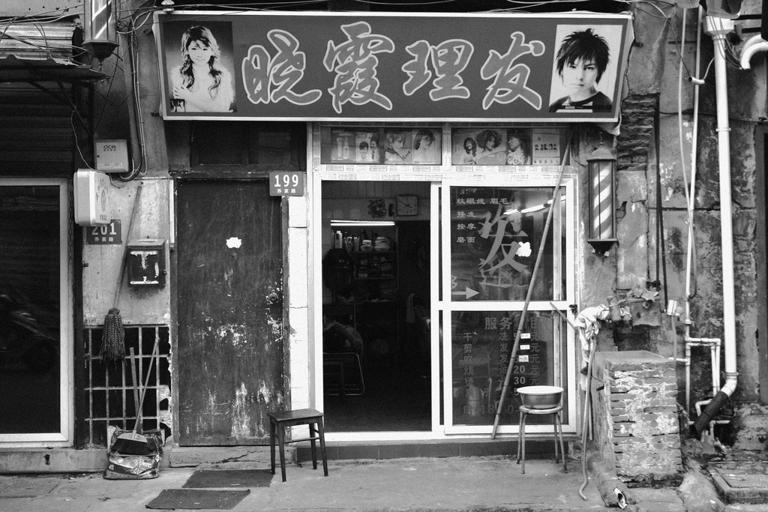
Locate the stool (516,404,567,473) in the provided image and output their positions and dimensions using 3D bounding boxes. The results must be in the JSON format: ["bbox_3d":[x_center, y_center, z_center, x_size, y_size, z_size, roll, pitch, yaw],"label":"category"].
[{"bbox_3d":[1.929,2.119,16.187,0.559,0.821,0.726,3,11,3],"label":"stool"}]

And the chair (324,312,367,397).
[{"bbox_3d":[-0.569,1.419,19.073,0.582,1.083,1.121,-1,-4,-2],"label":"chair"}]

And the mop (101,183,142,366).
[{"bbox_3d":[-3.215,0.187,16.250,0.515,2.171,0.188,-2,-4,23],"label":"mop"}]

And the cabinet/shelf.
[{"bbox_3d":[-0.290,0.611,21.257,1.116,2.058,0.870,-1,8,16],"label":"cabinet/shelf"}]

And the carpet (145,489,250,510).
[{"bbox_3d":[-2.141,2.758,15.362,1.178,0.145,0.953,-1,3,-16],"label":"carpet"}]

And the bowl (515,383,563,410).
[{"bbox_3d":[1.882,1.681,16.026,0.519,0.265,0.367,-2,-4,15],"label":"bowl"}]

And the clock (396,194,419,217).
[{"bbox_3d":[0.379,-0.803,21.257,0.362,0.333,0.155,-1,-4,-1],"label":"clock"}]
